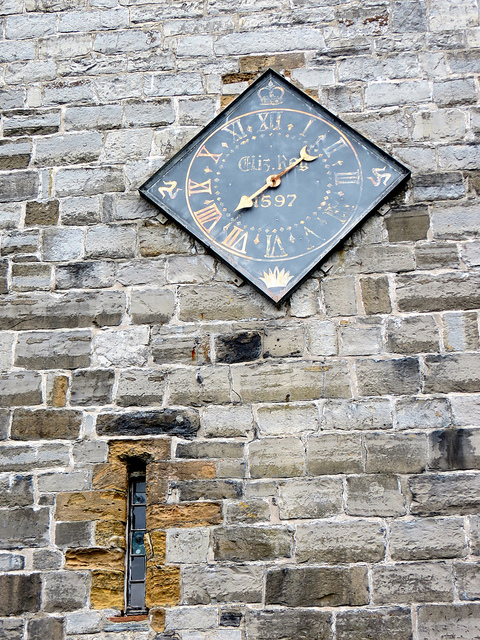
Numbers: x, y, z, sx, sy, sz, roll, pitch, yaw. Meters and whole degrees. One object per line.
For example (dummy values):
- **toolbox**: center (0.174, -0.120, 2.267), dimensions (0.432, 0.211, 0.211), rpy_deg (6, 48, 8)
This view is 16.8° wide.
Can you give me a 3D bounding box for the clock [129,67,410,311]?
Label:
- **clock**: center (0.205, -0.811, 9.806), dimensions (1.177, 0.134, 1.176), rpy_deg (41, 74, 20)
